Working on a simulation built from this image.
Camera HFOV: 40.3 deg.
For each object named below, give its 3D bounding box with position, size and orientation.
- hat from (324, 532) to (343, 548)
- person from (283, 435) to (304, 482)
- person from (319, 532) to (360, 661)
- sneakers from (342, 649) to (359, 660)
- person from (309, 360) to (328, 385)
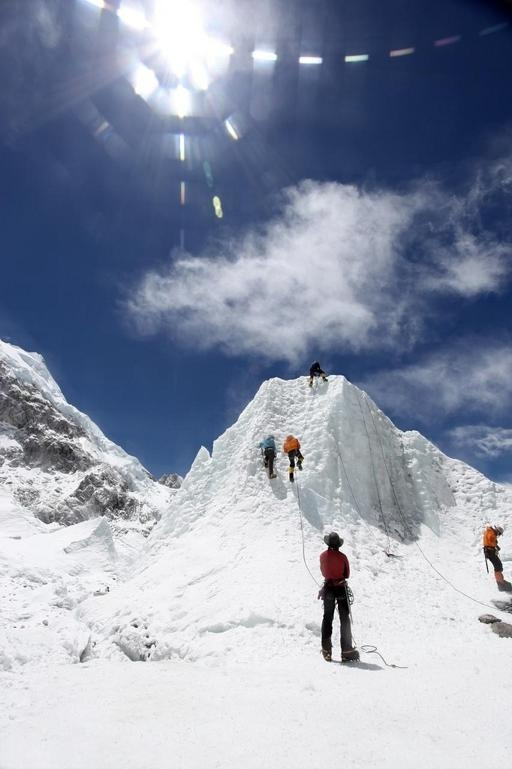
[{"bbox_3d":[1.369,2.801,12.497,0.265,0.121,0.305,-5,3,-4],"label":"hat"},{"bbox_3d":[1.130,2.323,21.229,0.486,1.439,1.545,-1,-21,7],"label":"person"},{"bbox_3d":[1.433,3.689,12.286,0.655,2.220,0.666,-1,-20,6],"label":"person"},{"bbox_3d":[1.565,4.550,11.692,0.123,0.163,0.344,-30,-48,29],"label":"sneakers"},{"bbox_3d":[2.136,-0.297,24.234,0.529,1.242,0.420,-16,-65,8],"label":"person"}]
